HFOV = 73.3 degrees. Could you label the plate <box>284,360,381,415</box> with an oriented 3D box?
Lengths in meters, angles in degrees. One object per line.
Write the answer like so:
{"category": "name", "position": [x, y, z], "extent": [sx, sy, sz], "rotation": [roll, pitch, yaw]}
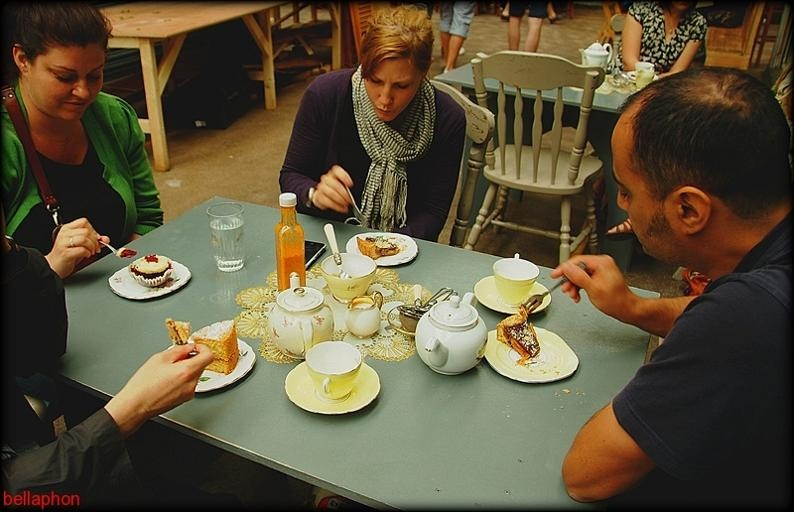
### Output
{"category": "plate", "position": [-0.181, 0.384, 1.464], "extent": [0.199, 0.195, 0.035], "rotation": [-12, 39, 13]}

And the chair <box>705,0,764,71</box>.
{"category": "chair", "position": [4.439, -2.906, 6.978], "extent": [0.626, 0.794, 0.601], "rotation": [16, 35, 21]}

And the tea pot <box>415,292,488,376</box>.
{"category": "tea pot", "position": [0.184, 0.224, 1.651], "extent": [0.175, 0.174, 0.264], "rotation": [9, 26, 23]}

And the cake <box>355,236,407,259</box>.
{"category": "cake", "position": [-0.081, -0.040, 2.057], "extent": [0.118, 0.036, 0.115], "rotation": [-19, 27, -36]}

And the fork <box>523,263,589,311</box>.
{"category": "fork", "position": [0.544, 0.109, 1.803], "extent": [0.024, 0.202, 0.027], "rotation": [25, 22, -50]}

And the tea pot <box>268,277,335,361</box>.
{"category": "tea pot", "position": [-0.305, 0.191, 1.664], "extent": [0.208, 0.194, 0.285], "rotation": [-5, 26, -20]}

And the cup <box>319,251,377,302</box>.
{"category": "cup", "position": [-0.166, 0.104, 1.836], "extent": [0.150, 0.095, 0.154], "rotation": [2, 12, 0]}

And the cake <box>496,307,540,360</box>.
{"category": "cake", "position": [0.385, 0.247, 1.702], "extent": [0.147, 0.064, 0.146], "rotation": [-38, 75, -5]}

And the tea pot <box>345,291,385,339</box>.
{"category": "tea pot", "position": [-0.100, 0.178, 1.739], "extent": [0.111, 0.126, 0.144], "rotation": [14, 25, 33]}

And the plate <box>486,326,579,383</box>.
{"category": "plate", "position": [0.399, 0.301, 1.653], "extent": [0.263, 0.043, 0.307], "rotation": [2, 21, 0]}

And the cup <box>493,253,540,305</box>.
{"category": "cup", "position": [0.409, 0.071, 1.830], "extent": [0.168, 0.129, 0.191], "rotation": [-3, 28, -6]}

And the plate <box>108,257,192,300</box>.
{"category": "plate", "position": [-0.857, 0.090, 1.875], "extent": [0.170, 0.019, 0.161], "rotation": [16, 35, 22]}

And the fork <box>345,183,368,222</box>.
{"category": "fork", "position": [-0.184, -0.231, 2.364], "extent": [0.048, 0.070, 0.379], "rotation": [-23, 35, -2]}

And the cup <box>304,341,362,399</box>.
{"category": "cup", "position": [-0.178, 0.335, 1.467], "extent": [0.153, 0.107, 0.175], "rotation": [4, 24, -2]}

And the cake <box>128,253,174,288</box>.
{"category": "cake", "position": [-0.864, 0.045, 1.872], "extent": [0.129, 0.071, 0.120], "rotation": [-7, 15, -37]}
